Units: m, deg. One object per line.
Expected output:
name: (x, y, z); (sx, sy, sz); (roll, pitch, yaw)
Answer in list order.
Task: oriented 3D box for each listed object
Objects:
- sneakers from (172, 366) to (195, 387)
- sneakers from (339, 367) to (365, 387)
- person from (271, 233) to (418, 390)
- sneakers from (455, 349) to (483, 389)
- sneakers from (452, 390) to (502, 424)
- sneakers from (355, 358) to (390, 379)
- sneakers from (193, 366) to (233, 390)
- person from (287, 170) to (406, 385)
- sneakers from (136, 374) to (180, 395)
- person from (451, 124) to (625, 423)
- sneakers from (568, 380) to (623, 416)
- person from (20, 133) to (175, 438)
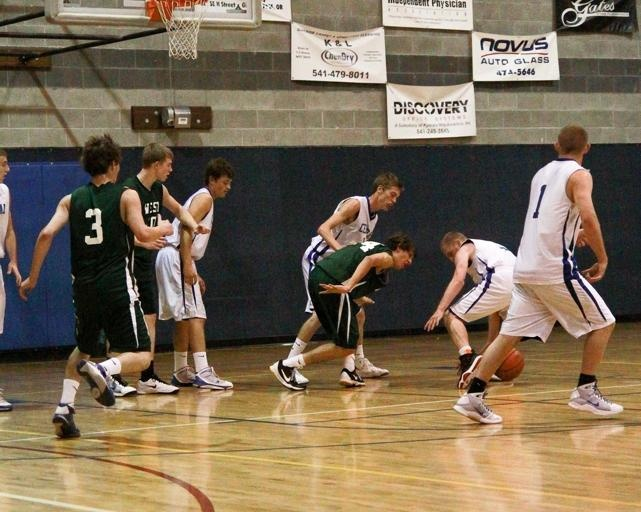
sneakers: (-1.254, 1.071, 7.104); (0.287, 0.140, 0.113); (-1, 5, -16)
sneakers: (0.256, 1.038, 6.875); (0.102, 0.129, 0.261); (-4, -9, 38)
person: (0.209, 0.511, 6.569); (1.006, 1.293, 0.891); (-12, 11, -39)
sneakers: (1.181, 0.913, 6.564); (0.151, 0.365, 0.121); (40, 38, 23)
sneakers: (1.008, 0.944, 5.082); (0.330, 0.186, 0.116); (18, 8, -17)
sneakers: (0.444, 1.040, 7.486); (0.375, 0.189, 0.139); (3, -1, 11)
sneakers: (-0.927, 1.063, 6.954); (0.401, 0.214, 0.145); (1, -4, 3)
person: (0.242, 0.202, 6.969); (0.993, 1.932, 0.837); (5, -5, -20)
sneakers: (-1.368, 1.078, 6.722); (0.381, 0.179, 0.134); (1, -5, 2)
person: (1.454, 0.118, 5.165); (1.216, 1.910, 0.816); (2, -2, -17)
sneakers: (1.809, 0.923, 5.263); (0.432, 0.260, 0.163); (6, -2, -10)
person: (-1.373, 0.193, 4.993); (0.834, 1.831, 0.799); (-5, -6, 25)
